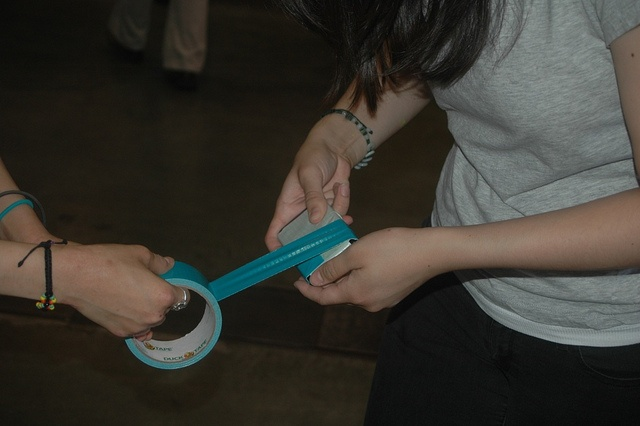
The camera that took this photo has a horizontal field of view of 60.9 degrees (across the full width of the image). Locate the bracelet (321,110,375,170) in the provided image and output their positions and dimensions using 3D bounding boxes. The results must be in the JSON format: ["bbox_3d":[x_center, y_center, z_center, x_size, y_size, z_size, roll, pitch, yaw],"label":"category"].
[{"bbox_3d":[0.095,-0.211,1.555,0.145,0.157,0.110,18,26,40],"label":"bracelet"}]

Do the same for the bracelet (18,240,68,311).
[{"bbox_3d":[-0.611,0.142,1.236,0.108,0.142,0.093,-3,24,-17],"label":"bracelet"}]
